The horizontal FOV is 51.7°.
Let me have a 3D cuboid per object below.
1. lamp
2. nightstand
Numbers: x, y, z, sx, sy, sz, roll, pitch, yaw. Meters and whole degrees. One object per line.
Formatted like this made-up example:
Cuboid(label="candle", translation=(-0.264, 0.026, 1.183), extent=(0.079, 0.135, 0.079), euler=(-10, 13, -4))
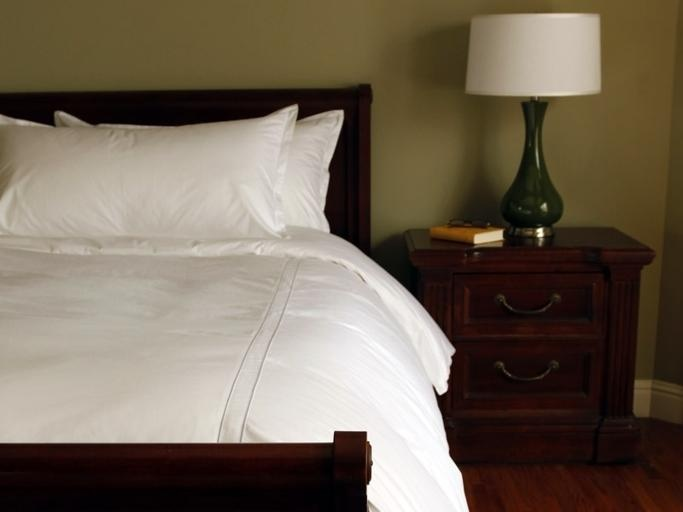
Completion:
Cuboid(label="lamp", translation=(0.760, -0.519, 2.778), extent=(0.499, 0.893, 0.510), euler=(-10, 15, -25))
Cuboid(label="nightstand", translation=(0.747, 0.247, 2.926), extent=(0.863, 0.944, 0.749), euler=(-4, 28, 7))
